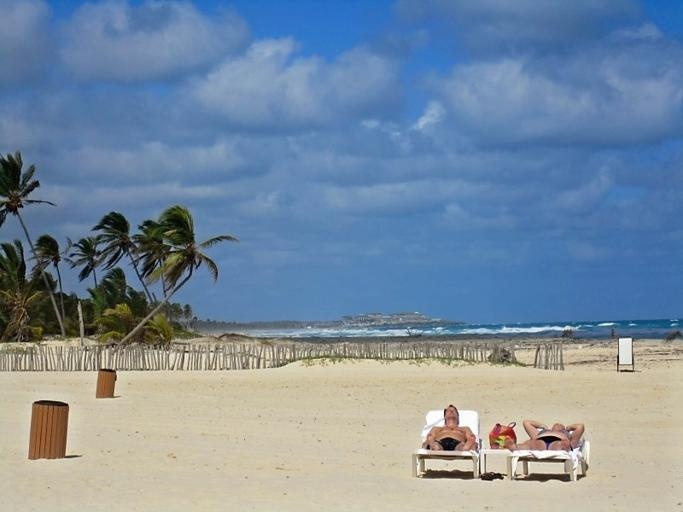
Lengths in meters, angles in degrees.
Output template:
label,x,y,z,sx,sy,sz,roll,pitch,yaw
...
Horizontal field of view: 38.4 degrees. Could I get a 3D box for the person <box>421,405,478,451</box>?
label,x,y,z,sx,sy,sz,roll,pitch,yaw
person,1.999,3.225,17.948,0.590,0.594,0.951,0,-21,9

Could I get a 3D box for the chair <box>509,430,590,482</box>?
label,x,y,z,sx,sy,sz,roll,pitch,yaw
chair,3.744,3.640,17.742,0.909,0.444,1.340,0,0,15

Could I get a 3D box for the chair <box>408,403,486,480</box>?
label,x,y,z,sx,sy,sz,roll,pitch,yaw
chair,1.886,3.496,17.871,1.181,1.122,1.800,-2,-13,8
